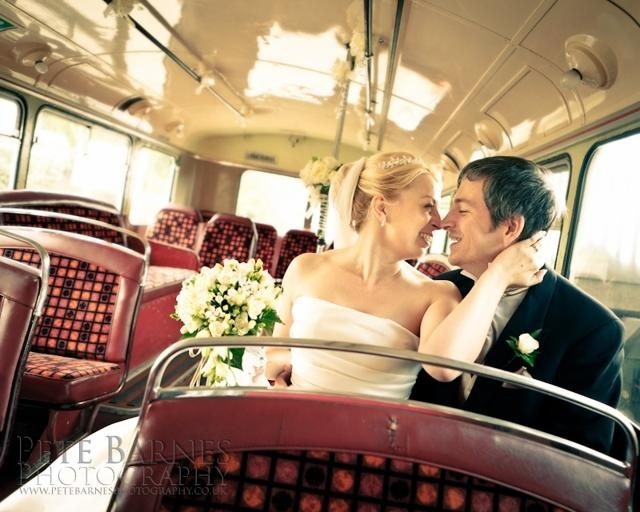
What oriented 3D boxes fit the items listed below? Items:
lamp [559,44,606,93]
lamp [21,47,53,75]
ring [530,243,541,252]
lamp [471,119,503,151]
[{"bbox_3d":[2.166,-1.524,3.627,0.309,0.129,0.302,55,-20,-19],"label":"lamp"},{"bbox_3d":[-3.519,-2.466,5.532,0.243,0.216,0.432,6,1,-3],"label":"lamp"},{"bbox_3d":[0.910,-0.036,1.862,0.025,0.033,0.010,13,-21,-26],"label":"ring"},{"bbox_3d":[2.273,-1.632,5.894,0.364,0.220,0.302,48,-25,-5],"label":"lamp"}]
